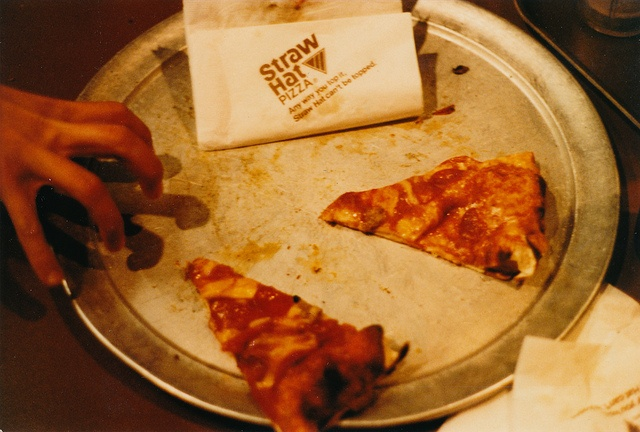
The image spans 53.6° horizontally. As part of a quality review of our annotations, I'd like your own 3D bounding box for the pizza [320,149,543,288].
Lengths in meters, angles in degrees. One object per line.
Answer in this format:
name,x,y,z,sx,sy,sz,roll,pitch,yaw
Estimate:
pizza,0.183,-0.021,0.938,0.258,0.054,0.206,0,64,6
